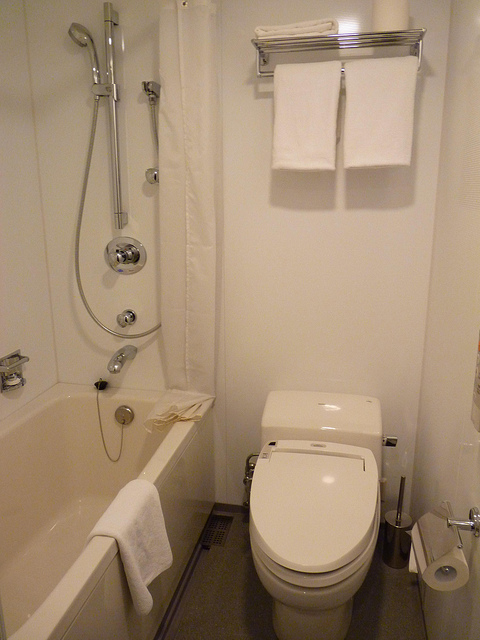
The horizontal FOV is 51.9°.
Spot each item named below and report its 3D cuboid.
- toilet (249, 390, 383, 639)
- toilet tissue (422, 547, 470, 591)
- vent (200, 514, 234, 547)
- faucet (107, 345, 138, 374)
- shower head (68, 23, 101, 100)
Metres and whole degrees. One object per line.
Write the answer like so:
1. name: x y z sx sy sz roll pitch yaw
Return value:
1. toilet: 0.183 0.523 1.426 0.371 0.639 0.511 3 18 14
2. toilet tissue: 0.445 0.537 1.096 0.076 0.108 0.096 2 16 6
3. vent: -0.090 0.852 1.979 0.091 0.044 0.211 3 22 12
4. faucet: -0.440 0.142 1.846 0.050 0.063 0.188 3 28 6
5. shower head: -0.530 -0.880 1.677 0.106 0.245 0.119 -3 17 -5
